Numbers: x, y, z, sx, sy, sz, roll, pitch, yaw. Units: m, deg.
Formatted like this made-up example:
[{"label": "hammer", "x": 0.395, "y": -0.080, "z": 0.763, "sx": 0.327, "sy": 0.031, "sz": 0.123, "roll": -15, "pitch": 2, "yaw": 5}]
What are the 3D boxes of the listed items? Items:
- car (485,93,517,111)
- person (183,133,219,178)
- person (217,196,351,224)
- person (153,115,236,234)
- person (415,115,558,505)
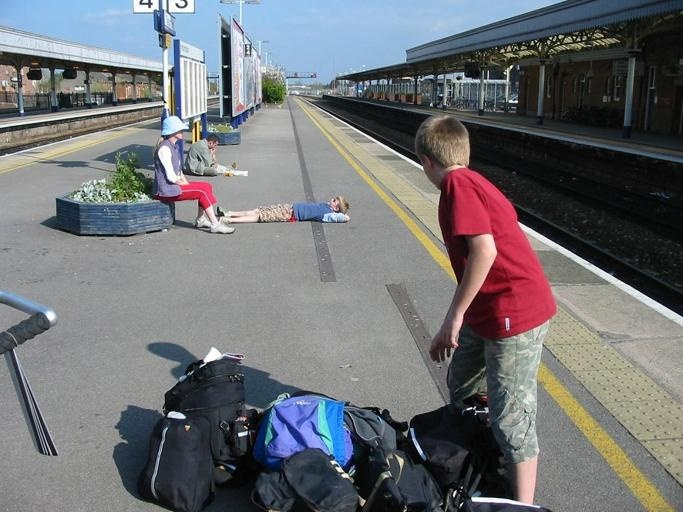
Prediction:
[{"label": "car", "x": 16.629, "y": -16.192, "z": 53.147, "sx": 3.115, "sy": 1.462, "sz": 7.354, "roll": 3, "pitch": 20, "yaw": 15}, {"label": "person", "x": -3.467, "y": -2.693, "z": 13.120, "sx": 0.817, "sy": 1.049, "sz": 0.926, "roll": 12, "pitch": 25, "yaw": 6}, {"label": "person", "x": -0.875, "y": -0.761, "z": 8.706, "sx": 2.009, "sy": 0.377, "sz": 0.321, "roll": -3, "pitch": 18, "yaw": -1}, {"label": "person", "x": -2.399, "y": -1.277, "z": 7.981, "sx": 1.200, "sy": 1.772, "sz": 0.806, "roll": 9, "pitch": 21, "yaw": 32}, {"label": "person", "x": 0.785, "y": 0.326, "z": 2.870, "sx": 0.755, "sy": 2.128, "sz": 0.609, "roll": 8, "pitch": 19, "yaw": 28}]
